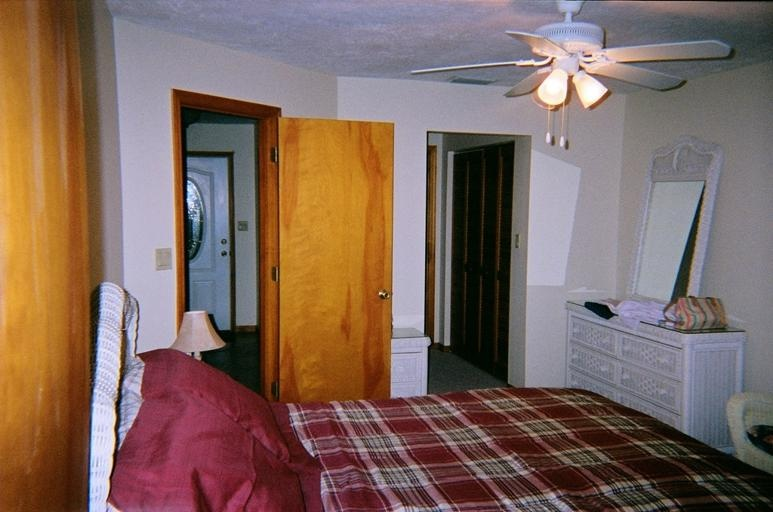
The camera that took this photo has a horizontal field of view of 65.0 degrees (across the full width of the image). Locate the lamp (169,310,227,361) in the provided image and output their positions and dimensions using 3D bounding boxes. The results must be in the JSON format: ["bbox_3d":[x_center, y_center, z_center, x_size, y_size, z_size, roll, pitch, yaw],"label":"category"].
[{"bbox_3d":[-1.126,0.491,3.596,0.341,0.347,0.317,-3,11,-26],"label":"lamp"}]

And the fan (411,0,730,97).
[{"bbox_3d":[1.034,-1.030,3.073,1.081,0.521,0.781,1,11,7],"label":"fan"}]
